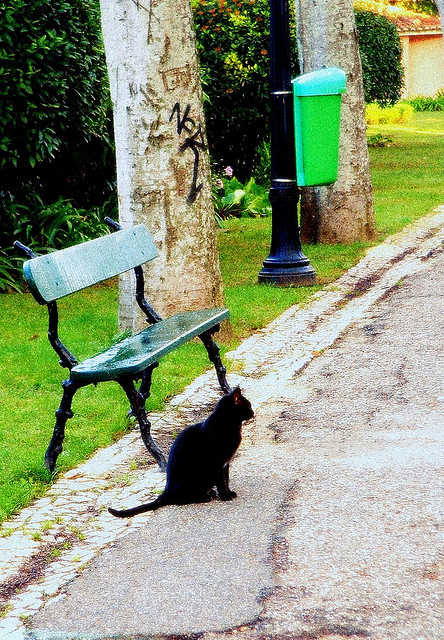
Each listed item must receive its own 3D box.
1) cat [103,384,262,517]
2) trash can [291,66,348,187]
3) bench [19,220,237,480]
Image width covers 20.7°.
[{"bbox_3d":[-0.102,0.590,5.443,0.502,0.516,0.232,-4,13,-4],"label":"cat"},{"bbox_3d":[0.907,-1.549,10.036,0.508,0.971,0.504,-9,-19,23],"label":"trash can"},{"bbox_3d":[-0.425,0.154,6.606,0.775,1.190,1.604,2,12,17],"label":"bench"}]
